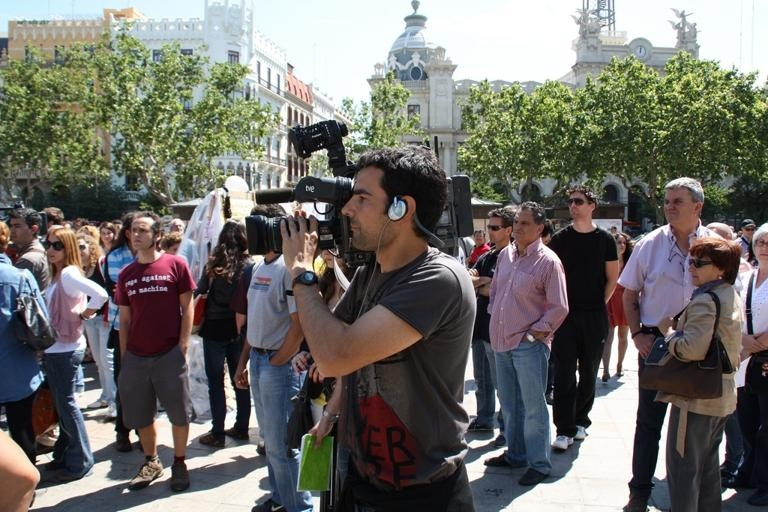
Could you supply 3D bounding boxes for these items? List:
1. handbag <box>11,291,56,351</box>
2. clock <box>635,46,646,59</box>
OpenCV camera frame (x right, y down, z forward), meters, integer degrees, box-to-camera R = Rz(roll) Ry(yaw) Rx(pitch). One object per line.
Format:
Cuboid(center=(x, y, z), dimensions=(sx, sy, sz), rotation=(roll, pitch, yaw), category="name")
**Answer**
Cuboid(center=(-3.629, 0.691, 7.439), dimensions=(0.311, 0.655, 0.583), rotation=(-19, 7, -25), category="handbag")
Cuboid(center=(22.020, -17.597, 61.970), dimensions=(0.963, 1.059, 0.344), rotation=(-1, 14, 1), category="clock")
